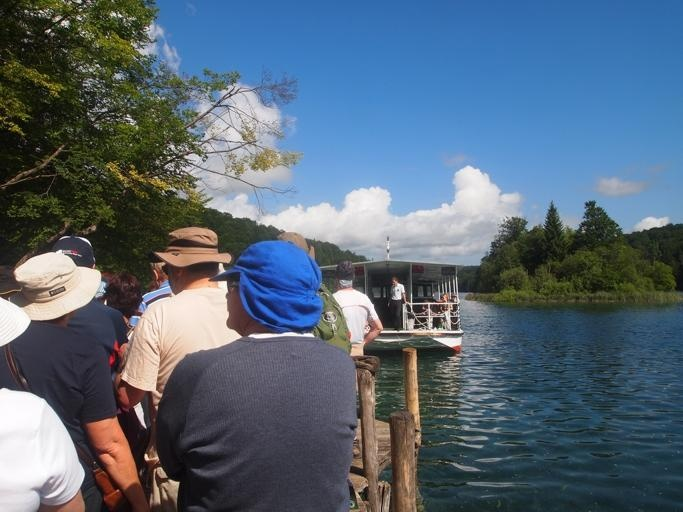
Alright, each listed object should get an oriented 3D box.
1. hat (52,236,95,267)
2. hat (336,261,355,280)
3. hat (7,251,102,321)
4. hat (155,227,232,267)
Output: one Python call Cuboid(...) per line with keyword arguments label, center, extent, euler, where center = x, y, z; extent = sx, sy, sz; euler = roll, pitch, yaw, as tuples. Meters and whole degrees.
Cuboid(label="hat", center=(-2.389, -0.068, 4.230), extent=(0.303, 0.268, 0.470), euler=(1, 6, -8))
Cuboid(label="hat", center=(0.043, 0.196, 6.099), extent=(0.185, 0.251, 0.240), euler=(0, 0, -2))
Cuboid(label="hat", center=(-1.871, 0.202, 3.078), extent=(0.448, 0.416, 0.215), euler=(0, -45, -7))
Cuboid(label="hat", center=(-1.184, -0.051, 3.601), extent=(0.372, 0.190, 0.363), euler=(-4, 1, 20))
